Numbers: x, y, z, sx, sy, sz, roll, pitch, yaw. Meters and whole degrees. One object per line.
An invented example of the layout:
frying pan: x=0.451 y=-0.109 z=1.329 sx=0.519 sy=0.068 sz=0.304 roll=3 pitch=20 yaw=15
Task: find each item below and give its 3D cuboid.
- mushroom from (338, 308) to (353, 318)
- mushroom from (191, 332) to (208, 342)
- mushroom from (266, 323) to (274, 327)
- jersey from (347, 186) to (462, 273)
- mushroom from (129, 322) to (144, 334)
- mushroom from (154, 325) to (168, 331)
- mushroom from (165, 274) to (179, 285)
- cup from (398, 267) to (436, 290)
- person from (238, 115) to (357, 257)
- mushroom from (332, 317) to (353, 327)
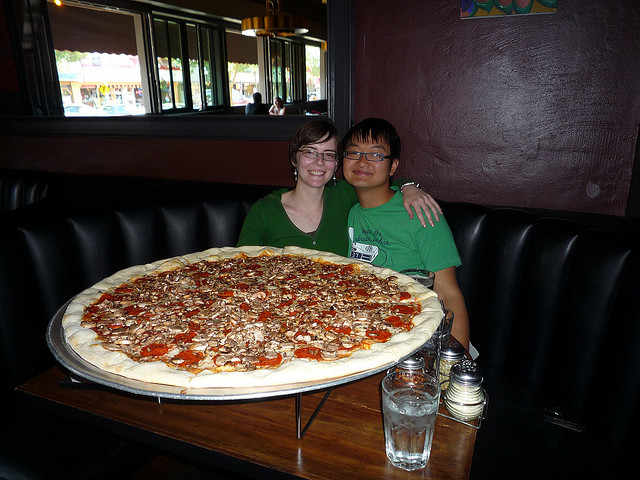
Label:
mushroom: x=0.098 y=0.284 z=1.746 sx=0.031 sy=0.008 sz=0.031 roll=13 pitch=31 yaw=34
mushroom: x=-0.450 y=0.352 z=1.610 sx=0.030 sy=0.009 sz=0.031 roll=-24 pitch=31 yaw=-38
mushroom: x=-0.195 y=0.319 z=1.668 sx=0.028 sy=0.009 sz=0.016 roll=-1 pitch=19 yaw=2
jersey: x=0.425 y=-0.043 z=2.264 sx=0.489 sy=0.373 sz=0.174 roll=2 pitch=29 yaw=32
mushroom: x=-0.727 y=0.333 z=1.678 sx=0.044 sy=0.015 sz=0.056 roll=9 pitch=21 yaw=29
mushroom: x=-0.627 y=0.330 z=1.676 sx=0.026 sy=0.007 sz=0.026 roll=3 pitch=3 yaw=34
mushroom: x=-0.696 y=0.178 z=2.004 sx=0.025 sy=0.029 sz=0.050 roll=-11 pitch=-22 yaw=32
cup: x=0.435 y=0.157 z=1.886 sx=0.113 sy=0.062 sz=0.107 roll=1 pitch=5 yaw=0
person: x=-0.037 y=-0.277 z=2.525 sx=1.007 sy=0.831 sz=0.383 roll=-6 pitch=21 yaw=-22
mushroom: x=0.090 y=0.314 z=1.702 sx=0.076 sy=0.020 sz=0.042 roll=-2 pitch=19 yaw=-3
